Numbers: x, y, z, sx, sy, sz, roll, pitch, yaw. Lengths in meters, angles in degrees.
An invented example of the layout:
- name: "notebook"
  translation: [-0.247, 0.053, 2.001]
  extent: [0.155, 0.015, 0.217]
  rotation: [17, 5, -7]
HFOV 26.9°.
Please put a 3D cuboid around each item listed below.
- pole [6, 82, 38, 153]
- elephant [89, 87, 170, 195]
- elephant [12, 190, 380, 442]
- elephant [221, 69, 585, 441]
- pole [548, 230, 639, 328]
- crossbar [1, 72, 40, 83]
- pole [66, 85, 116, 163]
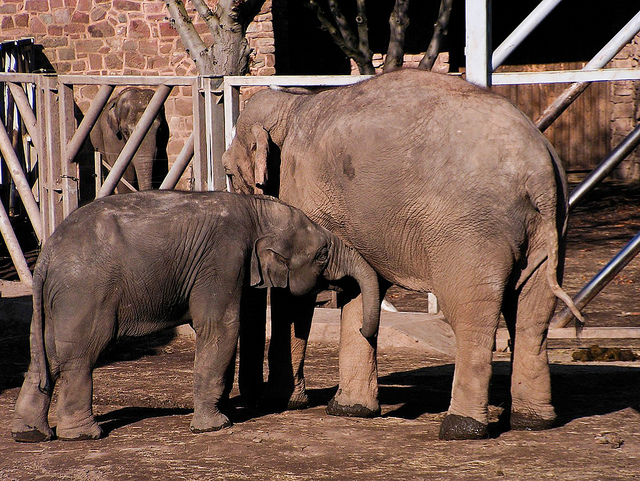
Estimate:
- name: "pole"
  translation: [-3.118, -1.289, 13.993]
  extent: [0.311, 0.699, 0.681]
  rotation: [1, 10, -13]
- name: "elephant"
  translation: [-2.462, -1.282, 18.108]
  extent: [1.029, 1.468, 2.120]
  rotation: [1, 4, -18]
- name: "elephant"
  translation: [-1.010, 0.590, 10.824]
  extent: [3.088, 1.707, 0.995]
  rotation: [-4, 4, -24]
- name: "elephant"
  translation: [0.337, 0.074, 11.524]
  extent: [3.776, 2.821, 1.943]
  rotation: [5, 8, 42]
- name: "pole"
  translation: [2.865, 0.439, 13.966]
  extent: [0.157, 1.429, 0.174]
  rotation: [53, 16, 15]
- name: "crossbar"
  translation: [-3.076, -1.661, 13.749]
  extent: [0.398, 0.098, 0.313]
  rotation: [1, 9, -7]
- name: "pole"
  translation: [-2.334, -1.181, 13.546]
  extent: [0.462, 0.802, 0.404]
  rotation: [1, 10, -11]
